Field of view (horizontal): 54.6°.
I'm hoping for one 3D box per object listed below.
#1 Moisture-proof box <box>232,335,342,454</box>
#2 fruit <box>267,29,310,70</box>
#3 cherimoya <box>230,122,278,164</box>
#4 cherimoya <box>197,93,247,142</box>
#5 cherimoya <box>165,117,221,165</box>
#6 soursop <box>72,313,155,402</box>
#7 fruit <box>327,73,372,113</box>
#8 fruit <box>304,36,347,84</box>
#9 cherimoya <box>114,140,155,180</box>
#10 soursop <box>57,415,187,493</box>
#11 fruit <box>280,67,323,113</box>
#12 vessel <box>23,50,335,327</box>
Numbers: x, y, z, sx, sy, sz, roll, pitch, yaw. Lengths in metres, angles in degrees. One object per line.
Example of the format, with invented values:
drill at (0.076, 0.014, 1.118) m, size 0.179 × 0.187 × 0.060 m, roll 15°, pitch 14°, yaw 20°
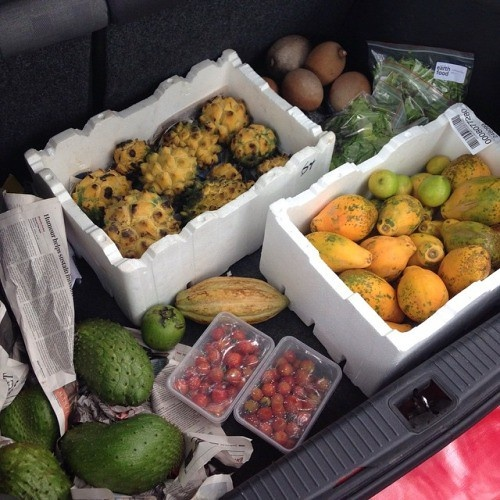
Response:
Moisture-proof box at (0.073, 0.295, 0.988) m, size 0.164 × 0.069 × 0.228 m, roll 34°, pitch 71°, yaw 13°
fruit at (0.128, -0.559, 1.396) m, size 0.134 × 0.093 × 0.096 m, roll -20°, pitch 22°, yaw -11°
cherimoya at (0.008, -0.264, 1.266) m, size 0.111 × 0.090 × 0.083 m, roll -24°, pitch 53°, yaw -33°
cherimoya at (-0.054, -0.347, 1.289) m, size 0.139 × 0.109 × 0.128 m, roll 0°, pitch 12°, yaw 6°
cherimoya at (-0.153, -0.271, 1.287) m, size 0.130 × 0.125 × 0.115 m, roll 21°, pitch 48°, yaw -35°
soursop at (-0.286, 0.230, 1.024) m, size 0.176 × 0.106 × 0.130 m, roll 46°, pitch 39°, yaw 12°
fruit at (0.272, -0.453, 1.365) m, size 0.118 × 0.127 × 0.112 m, roll 4°, pitch 8°, yaw 3°
fruit at (0.225, -0.555, 1.385) m, size 0.109 × 0.101 × 0.140 m, roll 4°, pitch 18°, yaw -44°
cherimoya at (-0.300, -0.220, 1.221) m, size 0.108 × 0.092 × 0.086 m, roll 4°, pitch 33°, yaw 2°
soursop at (-0.223, 0.354, 0.908) m, size 0.217 × 0.112 × 0.125 m, roll -7°, pitch 25°, yaw -10°
fruit at (0.132, -0.430, 1.353) m, size 0.112 × 0.125 × 0.109 m, roll 0°, pitch 0°, yaw 0°
vessel at (-0.203, -0.080, 1.492) m, size 0.969 × 0.402 × 0.633 m, roll -36°, pitch 80°, yaw -15°
